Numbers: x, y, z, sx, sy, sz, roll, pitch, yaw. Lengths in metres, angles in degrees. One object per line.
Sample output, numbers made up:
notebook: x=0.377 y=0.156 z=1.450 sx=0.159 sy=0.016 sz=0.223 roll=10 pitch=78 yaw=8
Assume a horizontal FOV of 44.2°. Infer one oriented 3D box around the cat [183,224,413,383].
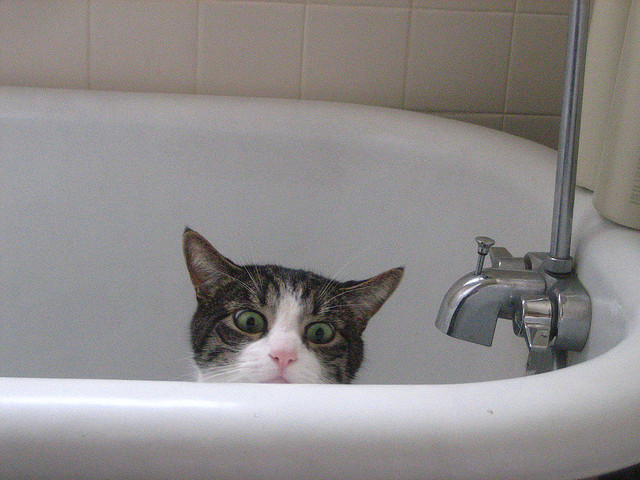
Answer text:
cat: x=-0.066 y=0.140 z=1.152 sx=0.306 sy=0.266 sz=0.205 roll=10 pitch=-16 yaw=-4
